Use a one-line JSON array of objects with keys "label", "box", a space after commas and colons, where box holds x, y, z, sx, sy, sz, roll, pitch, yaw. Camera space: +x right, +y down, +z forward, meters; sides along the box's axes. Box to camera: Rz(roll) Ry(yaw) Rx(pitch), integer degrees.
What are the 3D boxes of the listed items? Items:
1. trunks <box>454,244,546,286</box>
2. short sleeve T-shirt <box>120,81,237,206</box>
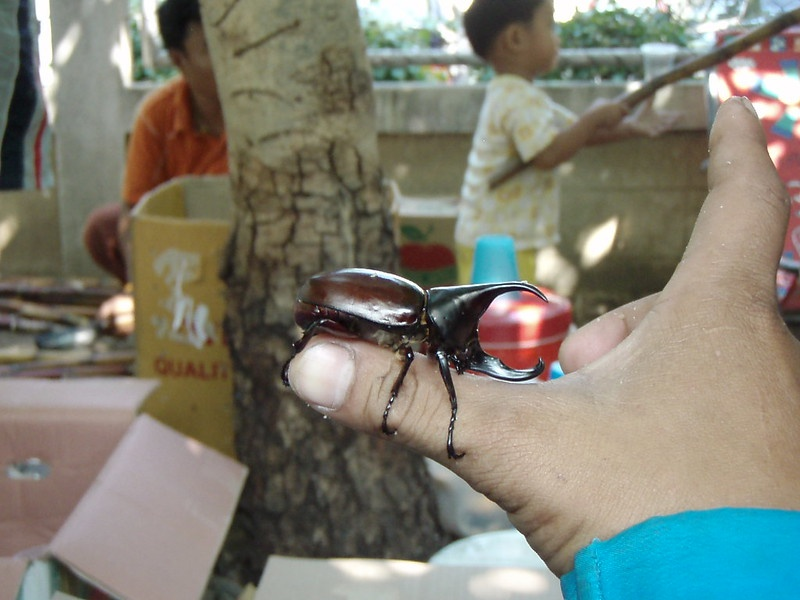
[{"label": "trunks", "box": [0.250, -0.102, 2.291, 0.153, 0.152, 0.116, -3, 11, -2]}, {"label": "short sleeve T-shirt", "box": [-0.412, -0.293, 1.677, 0.236, 0.226, 0.128, -11, 28, -13]}]
